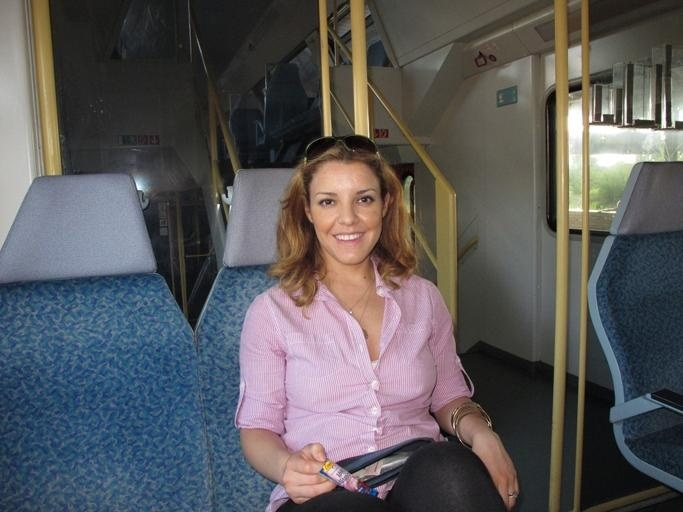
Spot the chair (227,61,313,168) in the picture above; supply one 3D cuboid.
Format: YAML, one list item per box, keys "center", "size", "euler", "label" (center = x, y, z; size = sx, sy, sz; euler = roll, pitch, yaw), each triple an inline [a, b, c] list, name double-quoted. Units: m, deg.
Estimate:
- center: [-0.697, -1.076, 4.293]
  size: [0.568, 0.909, 0.765]
  euler: [-3, 6, -25]
  label: "chair"

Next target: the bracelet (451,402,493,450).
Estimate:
- center: [0.468, 0.629, 1.967]
  size: [0.125, 0.148, 0.056]
  euler: [-24, -19, -3]
  label: "bracelet"
